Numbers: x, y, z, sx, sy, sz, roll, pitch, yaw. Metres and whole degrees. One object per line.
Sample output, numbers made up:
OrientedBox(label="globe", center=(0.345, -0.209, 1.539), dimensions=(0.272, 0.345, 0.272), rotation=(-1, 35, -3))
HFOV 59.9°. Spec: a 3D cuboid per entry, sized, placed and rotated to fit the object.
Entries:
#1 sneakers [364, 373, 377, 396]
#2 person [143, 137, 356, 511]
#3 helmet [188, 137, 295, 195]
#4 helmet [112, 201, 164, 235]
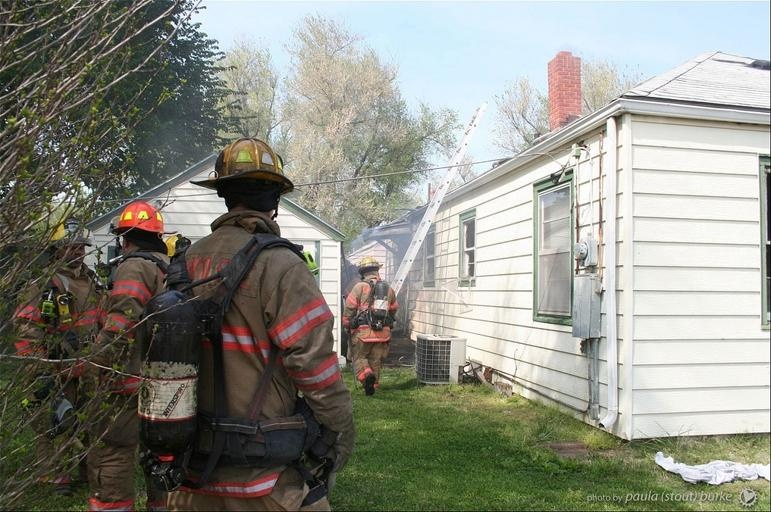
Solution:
OrientedBox(label="sneakers", center=(-0.252, 2.048, 10.694), dimensions=(0.160, 0.369, 0.166), rotation=(3, 3, -16))
OrientedBox(label="person", center=(-1.053, 0.513, 4.995), dimensions=(1.530, 2.786, 0.615), rotation=(-1, 6, -1))
OrientedBox(label="helmet", center=(-1.052, -0.708, 5.132), dimensions=(0.509, 0.276, 0.532), rotation=(1, 2, 18))
OrientedBox(label="helmet", center=(-2.475, -0.370, 6.747), dimensions=(0.657, 0.392, 0.510), rotation=(8, 6, 44))
